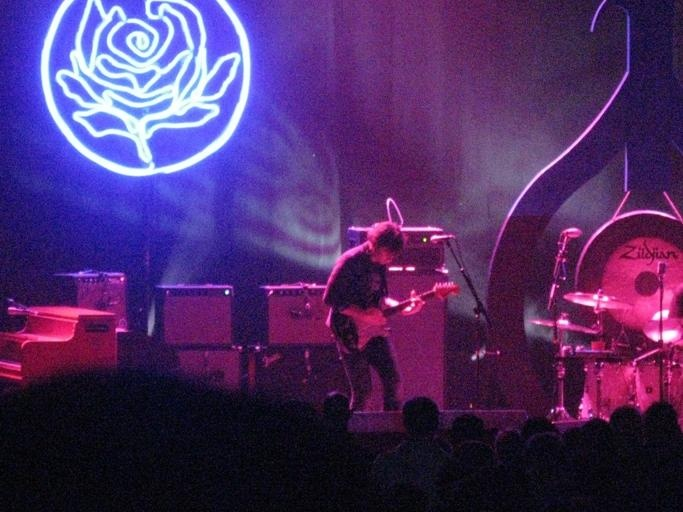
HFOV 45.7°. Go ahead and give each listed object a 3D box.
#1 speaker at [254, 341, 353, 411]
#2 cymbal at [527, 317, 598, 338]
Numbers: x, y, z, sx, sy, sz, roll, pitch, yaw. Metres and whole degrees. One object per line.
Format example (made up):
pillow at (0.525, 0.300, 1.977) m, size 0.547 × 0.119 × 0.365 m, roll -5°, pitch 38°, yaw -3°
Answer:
speaker at (-0.410, 1.199, 7.389) m, size 1.004 × 0.648 × 0.562 m, roll 5°, pitch -36°, yaw -24°
cymbal at (1.884, 0.588, 6.753) m, size 0.312 × 0.071 × 0.310 m, roll 9°, pitch -4°, yaw -8°
